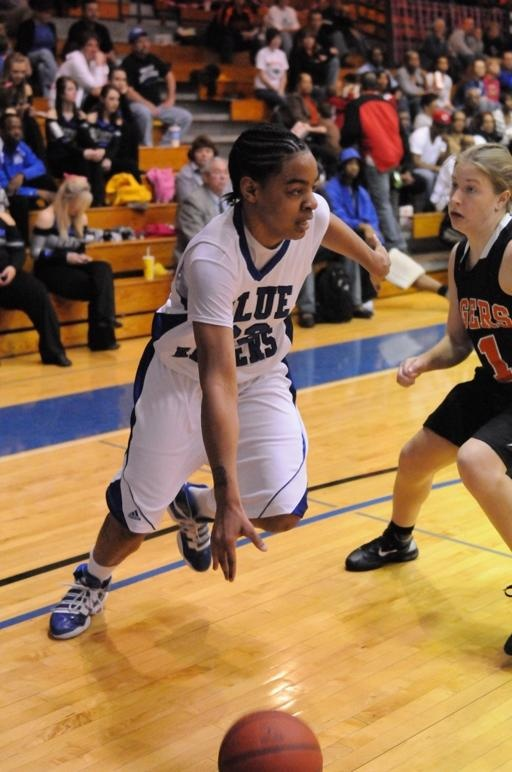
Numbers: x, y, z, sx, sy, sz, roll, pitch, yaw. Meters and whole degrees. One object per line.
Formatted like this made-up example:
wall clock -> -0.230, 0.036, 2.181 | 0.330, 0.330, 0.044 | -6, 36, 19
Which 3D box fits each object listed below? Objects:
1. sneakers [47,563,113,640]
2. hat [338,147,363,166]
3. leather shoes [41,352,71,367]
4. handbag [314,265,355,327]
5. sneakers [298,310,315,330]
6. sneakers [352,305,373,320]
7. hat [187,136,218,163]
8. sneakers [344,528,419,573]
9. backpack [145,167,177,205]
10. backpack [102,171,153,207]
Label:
sneakers -> -0.488, 0.615, 1.912 | 0.115, 0.127, 0.282 | 22, 29, 4
hat -> 1.062, -2.600, 7.098 | 0.234, 0.174, 0.328 | -4, 10, 1
leather shoes -> -1.659, -0.211, 5.212 | 0.309, 0.115, 0.104 | 2, 9, 25
handbag -> 0.809, -0.983, 6.771 | 0.428, 0.574, 0.218 | -2, -4, -41
sneakers -> 0.535, -0.691, 6.606 | 0.205, 0.218, 0.535 | -1, 4, 3
sneakers -> 1.195, -0.812, 7.019 | 0.131, 0.080, 0.200 | -22, 1, -23
hat -> -0.537, -2.333, 6.249 | 0.227, 0.242, 0.284 | -1, 9, -3
sneakers -> 0.453, 0.563, 2.296 | 0.319, 0.142, 0.111 | -9, 17, -17
backpack -> -1.034, -2.235, 7.080 | 0.374, 0.441, 0.171 | -4, 4, 5
backpack -> -1.337, -2.042, 6.590 | 0.329, 0.198, 0.435 | 9, -4, 24
